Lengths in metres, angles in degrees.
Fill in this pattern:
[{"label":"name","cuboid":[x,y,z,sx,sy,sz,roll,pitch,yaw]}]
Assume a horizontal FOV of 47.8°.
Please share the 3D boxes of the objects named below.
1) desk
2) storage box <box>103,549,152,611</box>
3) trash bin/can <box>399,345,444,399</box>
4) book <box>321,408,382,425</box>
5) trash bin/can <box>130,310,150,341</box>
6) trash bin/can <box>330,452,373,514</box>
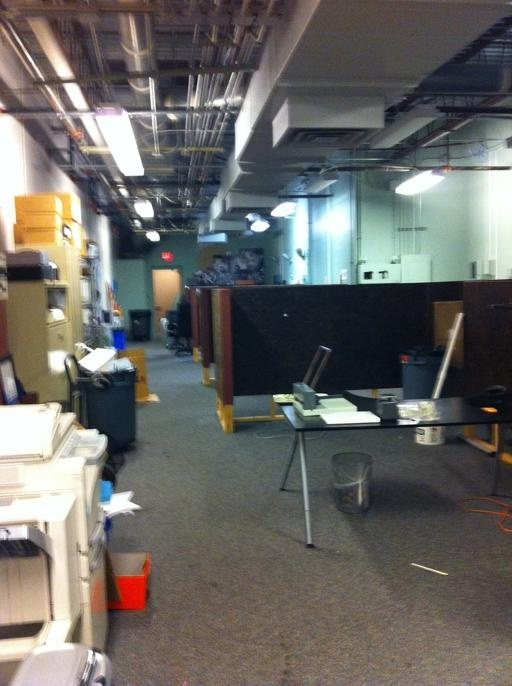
[{"label":"desk","cuboid":[0.828,0.606,3.188,1.362,0.688,1.273,-2,6,3]},{"label":"storage box","cuboid":[-0.536,0.985,2.396,0.203,0.111,0.283,0,-3,-3]},{"label":"trash bin/can","cuboid":[1.508,0.258,5.346,0.454,0.495,0.442,1,6,19]},{"label":"book","cuboid":[0.440,0.352,2.708,0.266,0.028,0.299,-2,6,0]},{"label":"trash bin/can","cuboid":[-3.238,-0.473,15.858,0.710,0.863,0.592,-2,6,5]},{"label":"trash bin/can","cuboid":[0.517,0.781,3.302,0.325,0.330,0.316,-1,6,2]}]
